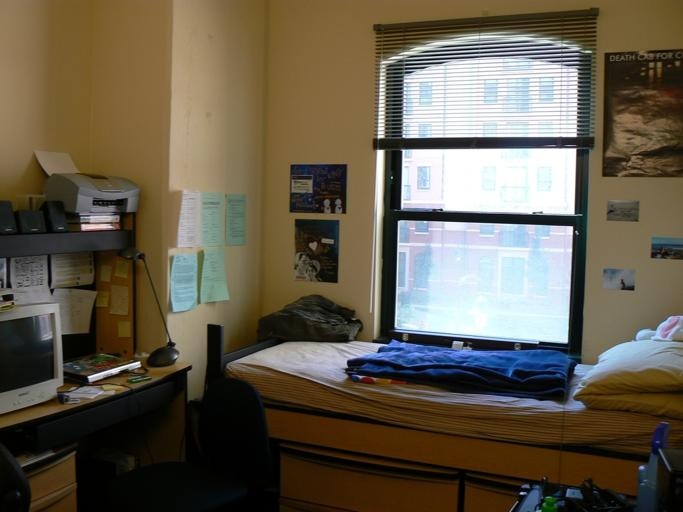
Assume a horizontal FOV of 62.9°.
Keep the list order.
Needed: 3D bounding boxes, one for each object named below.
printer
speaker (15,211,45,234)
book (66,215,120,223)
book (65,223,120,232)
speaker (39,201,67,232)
[{"bbox_3d":[-1.309,-0.329,2.966,0.468,0.207,0.200,-2,7,-29],"label":"printer"},{"bbox_3d":[-1.495,-0.165,2.706,0.103,0.100,0.102,-2,0,25],"label":"speaker"},{"bbox_3d":[-1.324,-0.204,3.003,0.053,0.052,0.273,6,8,34],"label":"book"},{"bbox_3d":[-1.318,-0.154,2.993,0.025,0.042,0.249,9,6,30],"label":"book"},{"bbox_3d":[-1.440,-0.199,2.812,0.110,0.153,0.079,-1,7,-26],"label":"speaker"}]
